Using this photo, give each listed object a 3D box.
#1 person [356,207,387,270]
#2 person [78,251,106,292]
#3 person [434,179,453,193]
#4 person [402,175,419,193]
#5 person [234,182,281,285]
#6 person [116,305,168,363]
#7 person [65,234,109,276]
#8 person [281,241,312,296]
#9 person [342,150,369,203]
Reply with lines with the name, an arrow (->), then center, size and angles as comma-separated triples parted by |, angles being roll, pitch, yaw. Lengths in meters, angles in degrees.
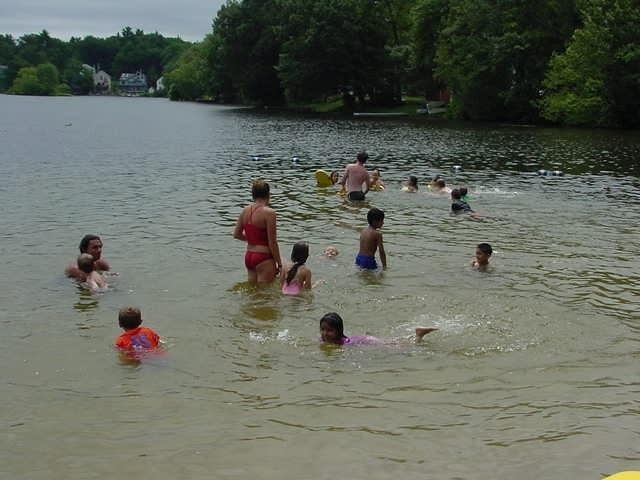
person -> 1.212, -0.083, 18.447 | 0.779, 1.400, 1.164 | 2, 11, 4
person -> -5.060, 0.683, 16.904 | 0.495, 0.703, 1.030 | -5, 12, -26
person -> 4.292, -1.953, 27.256 | 0.595, 0.231, 0.700 | -2, 17, -10
person -> 3.188, -2.001, 27.306 | 0.533, 0.530, 0.723 | 2, 11, 7
person -> -1.322, -0.175, 16.999 | 1.074, 2.296, 0.448 | 10, 15, 37
person -> -3.364, 1.786, 14.342 | 0.963, 0.858, 0.621 | -5, 22, -10
person -> -5.375, 0.347, 17.738 | 0.776, 0.897, 1.172 | 0, 11, 23
person -> -0.536, 0.585, 16.666 | 0.677, 1.092, 0.556 | 1, 12, -1
person -> 1.176, -2.142, 25.820 | 0.902, 1.599, 1.046 | 1, 12, 0
